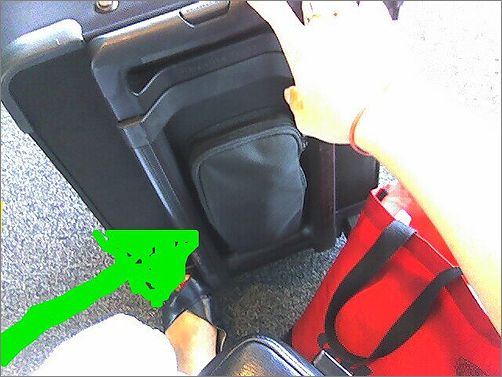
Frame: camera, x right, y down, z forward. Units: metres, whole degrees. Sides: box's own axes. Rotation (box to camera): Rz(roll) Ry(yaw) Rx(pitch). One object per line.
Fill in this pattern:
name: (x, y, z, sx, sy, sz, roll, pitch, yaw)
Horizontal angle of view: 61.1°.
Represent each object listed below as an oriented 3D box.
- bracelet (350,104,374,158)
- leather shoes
bracelet: (0.193, -0.095, 0.741, 0.046, 0.068, 0.016, -16, 21, 7)
leather shoes: (-0.156, 0.352, 1.156, 0.122, 0.083, 0.245, -28, 100, -3)
